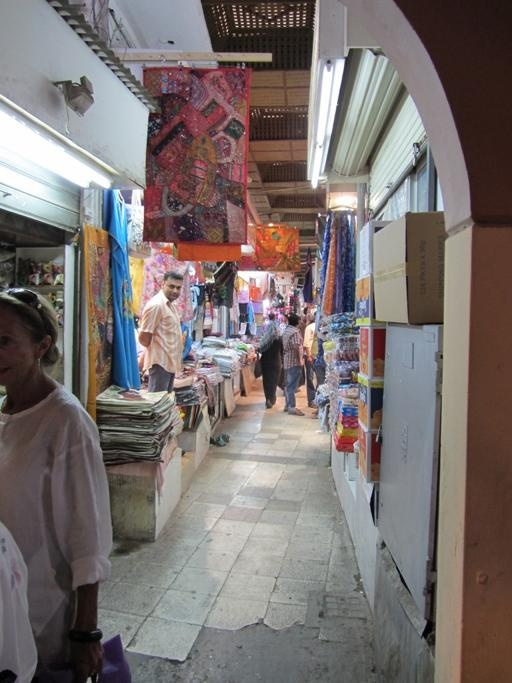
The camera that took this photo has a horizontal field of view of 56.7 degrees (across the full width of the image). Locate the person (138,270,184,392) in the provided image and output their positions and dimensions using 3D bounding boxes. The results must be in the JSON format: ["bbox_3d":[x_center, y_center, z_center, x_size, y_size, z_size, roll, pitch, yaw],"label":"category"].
[{"bbox_3d":[-0.996,0.024,4.770,0.447,1.000,0.405,0,1,-17],"label":"person"}]
